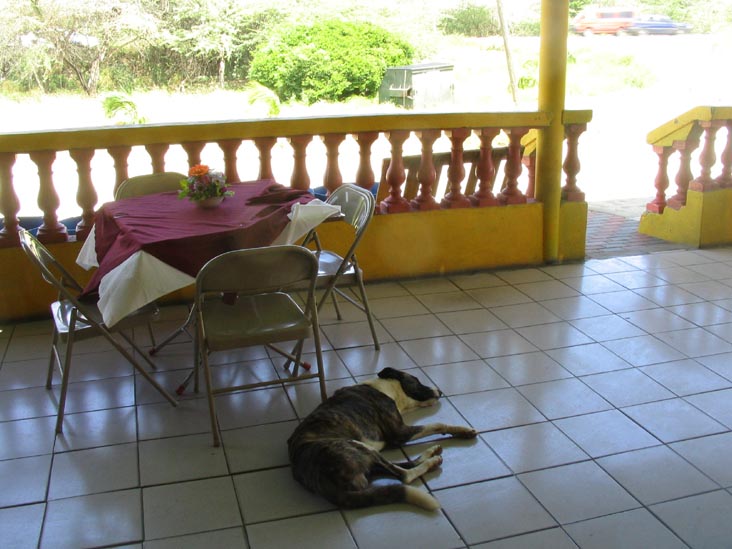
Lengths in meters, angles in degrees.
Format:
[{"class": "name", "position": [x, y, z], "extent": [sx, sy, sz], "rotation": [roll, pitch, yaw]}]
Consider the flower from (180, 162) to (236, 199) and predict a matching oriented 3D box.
[{"class": "flower", "position": [-0.953, -0.590, 3.519], "extent": [0.247, 0.164, 0.244], "rotation": [-12, 16, -43]}]

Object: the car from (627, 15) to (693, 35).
[{"class": "car", "position": [13.109, -11.239, 26.264], "extent": [2.188, 0.730, 1.097], "rotation": [-2, 31, -6]}]

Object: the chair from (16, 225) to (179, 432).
[{"class": "chair", "position": [-1.600, 0.366, 3.464], "extent": [0.915, 1.250, 0.671], "rotation": [-7, 31, -25]}]

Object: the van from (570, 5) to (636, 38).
[{"class": "van", "position": [10.887, -11.642, 26.655], "extent": [2.768, 1.219, 1.611], "rotation": [5, 23, 17]}]

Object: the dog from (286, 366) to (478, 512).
[{"class": "dog", "position": [0.094, 0.792, 3.078], "extent": [0.784, 0.344, 1.274], "rotation": [-3, 9, 16]}]

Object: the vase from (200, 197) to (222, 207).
[{"class": "vase", "position": [-0.926, -0.442, 3.511], "extent": [0.072, 0.044, 0.068], "rotation": [4, 13, 19]}]

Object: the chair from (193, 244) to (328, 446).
[{"class": "chair", "position": [-0.598, 0.417, 3.201], "extent": [0.684, 1.061, 0.762], "rotation": [-7, 45, -19]}]
